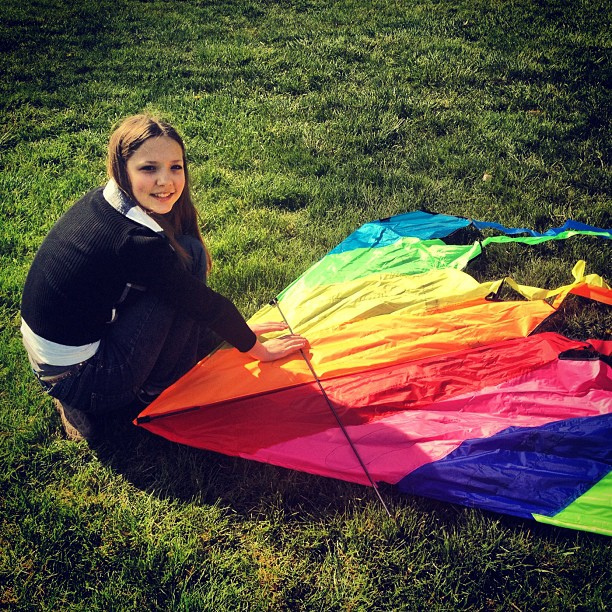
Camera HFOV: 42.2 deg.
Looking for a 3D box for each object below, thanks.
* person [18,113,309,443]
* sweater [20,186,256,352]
[{"bbox_3d":[-0.785,-0.195,4.284,1.525,1.525,0.822,-16,26,-22],"label":"person"},{"bbox_3d":[-0.904,-0.149,3.917,0.783,0.563,0.827,-6,43,-31],"label":"sweater"}]
